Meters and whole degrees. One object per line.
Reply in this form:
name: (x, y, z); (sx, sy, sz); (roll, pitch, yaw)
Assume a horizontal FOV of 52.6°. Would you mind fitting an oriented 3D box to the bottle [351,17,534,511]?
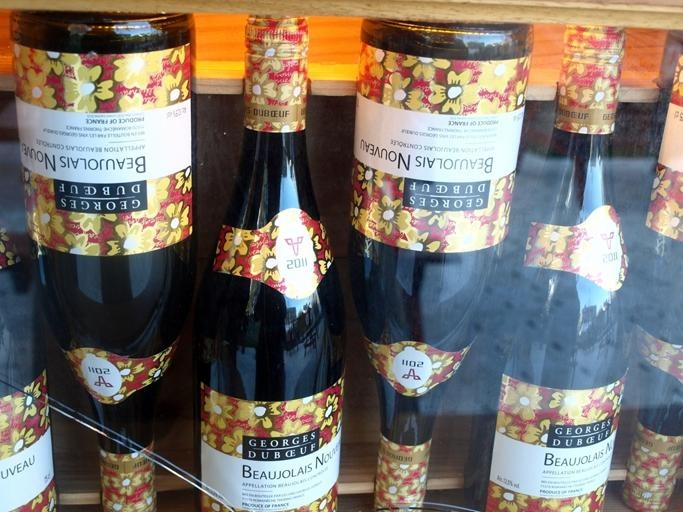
bottle: (0.079, 0.026, 0.594); (0.135, 0.433, 0.071); (4, 22, 13)
